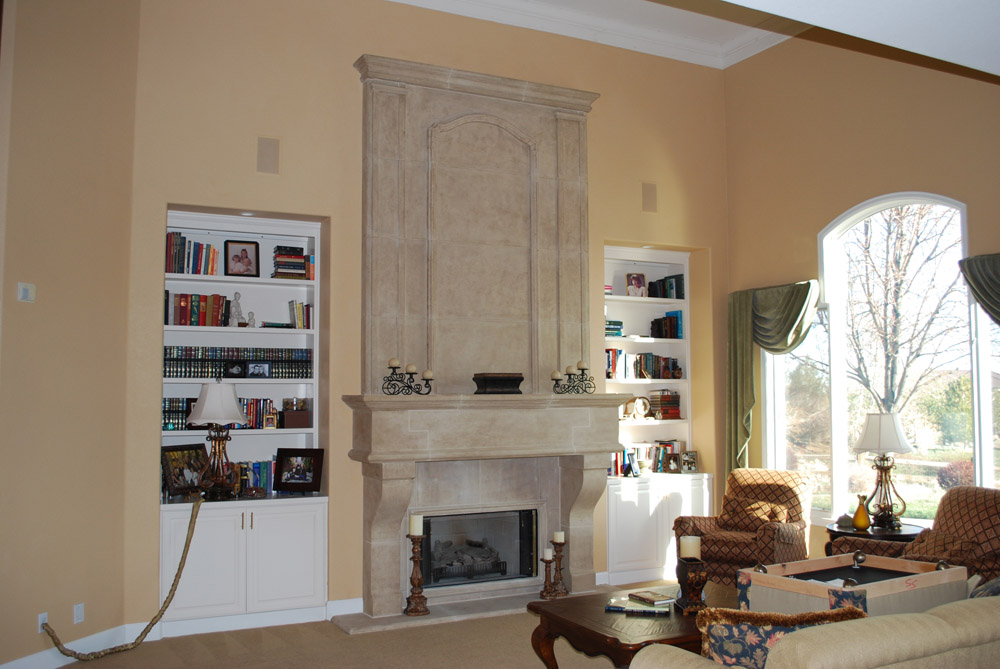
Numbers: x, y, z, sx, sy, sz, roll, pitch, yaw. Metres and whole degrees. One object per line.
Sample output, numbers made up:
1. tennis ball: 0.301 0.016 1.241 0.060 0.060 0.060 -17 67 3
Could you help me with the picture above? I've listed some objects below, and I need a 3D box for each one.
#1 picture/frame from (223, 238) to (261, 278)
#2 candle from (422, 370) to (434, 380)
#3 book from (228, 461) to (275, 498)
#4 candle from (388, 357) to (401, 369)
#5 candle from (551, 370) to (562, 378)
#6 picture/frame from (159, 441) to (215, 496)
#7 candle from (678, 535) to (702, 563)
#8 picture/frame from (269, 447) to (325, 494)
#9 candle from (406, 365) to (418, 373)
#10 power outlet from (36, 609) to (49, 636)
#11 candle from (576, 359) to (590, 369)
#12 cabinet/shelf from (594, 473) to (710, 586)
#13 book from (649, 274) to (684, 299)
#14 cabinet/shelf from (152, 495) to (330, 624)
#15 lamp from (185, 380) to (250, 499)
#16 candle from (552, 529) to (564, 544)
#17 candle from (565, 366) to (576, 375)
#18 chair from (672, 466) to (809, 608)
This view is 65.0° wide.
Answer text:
1. picture/frame: -2.436 -0.718 7.363 0.376 0.411 0.048 4 -11 -27
2. candle: -0.665 0.371 7.174 0.078 0.052 0.078 -2 -6 27
3. book: -2.277 1.326 7.238 0.285 0.371 0.387 0 -2 -15
4. candle: -0.944 0.255 7.061 0.098 0.089 0.097 -1 -1 -4
5. candle: 0.554 0.388 7.622 0.066 0.059 0.065 1 -6 9
6. picture/frame: -2.787 1.209 6.970 0.056 0.517 0.505 -18 -14 42
7. candle: 1.353 1.527 5.608 0.130 0.146 0.145 3 5 3
8. picture/frame: -1.851 1.260 7.212 0.413 0.383 0.040 -3 -12 4
9. candle: -0.794 0.309 7.100 0.070 0.050 0.069 0 1 -5
10. power outlet: -3.497 2.205 6.021 0.084 0.157 0.043 -1 6 -40
11. candle: 0.798 0.289 7.664 0.099 0.059 0.098 0 -4 7
12. cabinet/shelf: 1.473 2.000 7.973 1.267 1.067 0.412 1 -6 -26
13. book: 1.921 -0.541 9.102 0.496 0.341 0.265 0 -7 -3
14. cabinet/shelf: -2.316 2.011 7.043 1.414 1.007 0.489 4 -10 -30
15. lamp: -2.517 0.920 6.971 0.475 1.028 0.577 1 5 -21
16. candle: 0.536 1.938 7.532 0.118 0.127 0.116 -1 -5 25
17. candle: 0.704 0.353 7.817 0.089 0.082 0.088 2 -5 -4
18. chair: 2.387 1.943 7.631 1.187 1.189 1.204 1 -9 -4
